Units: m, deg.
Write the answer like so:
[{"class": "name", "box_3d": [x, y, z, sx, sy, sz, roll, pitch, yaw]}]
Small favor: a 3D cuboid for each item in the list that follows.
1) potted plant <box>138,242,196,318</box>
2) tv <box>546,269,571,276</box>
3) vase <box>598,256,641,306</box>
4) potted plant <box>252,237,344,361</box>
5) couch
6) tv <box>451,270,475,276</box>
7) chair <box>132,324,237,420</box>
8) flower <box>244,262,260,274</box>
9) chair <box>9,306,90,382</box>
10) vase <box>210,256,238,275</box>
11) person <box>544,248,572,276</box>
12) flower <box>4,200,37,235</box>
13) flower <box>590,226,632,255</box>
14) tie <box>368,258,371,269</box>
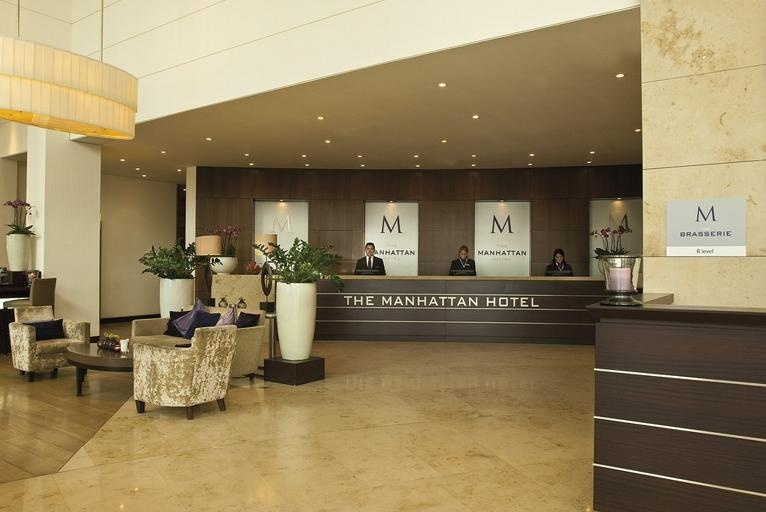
[{"class": "potted plant", "box_3d": [-4.309, 0.506, 11.146, 1.103, 1.438, 1.214, 5, 2, 11]}, {"class": "tv", "box_3d": [3.589, 0.357, 10.598, 0.486, 0.104, 0.587, 1, 5, 11]}, {"class": "vase", "box_3d": [1.930, 0.203, 4.193, 0.371, 0.387, 0.344, 0, -3, 6]}, {"class": "potted plant", "box_3d": [-1.221, 0.494, 7.613, 1.196, 1.342, 0.962, 2, 16, -30]}, {"class": "couch", "box_3d": [-2.790, 1.279, 7.744, 2.070, 0.935, 1.023, -2, -8, 34]}, {"class": "tv", "box_3d": [1.716, 0.357, 11.033, 0.408, 0.143, 0.702, 0, 5, 0]}, {"class": "chair", "box_3d": [-2.481, 1.246, 6.386, 1.131, 1.165, 1.161, 1, -1, 28]}, {"class": "flower", "box_3d": [-2.797, 0.290, 11.428, 0.298, 0.173, 0.333, 5, 4, 32]}, {"class": "chair", "box_3d": [-5.205, 1.296, 8.141, 1.232, 1.196, 1.155, -3, -4, 38]}, {"class": "vase", "box_3d": [-3.491, 0.221, 11.433, 0.450, 0.258, 0.434, 1, -2, 2]}, {"class": "person", "box_3d": [4.123, 0.140, 12.075, 0.721, 0.880, 0.337, 0, -1, 9]}, {"class": "flower", "box_3d": [-7.855, -0.859, 11.310, 0.426, 0.766, 2.289, -4, 6, -34]}, {"class": "flower", "box_3d": [5.304, -0.374, 11.981, 0.605, 0.709, 0.740, -6, -11, 37]}, {"class": "tie", "box_3d": [-0.263, 0.152, 11.716, 0.102, 0.232, 0.120, 0, 6, -2]}]
